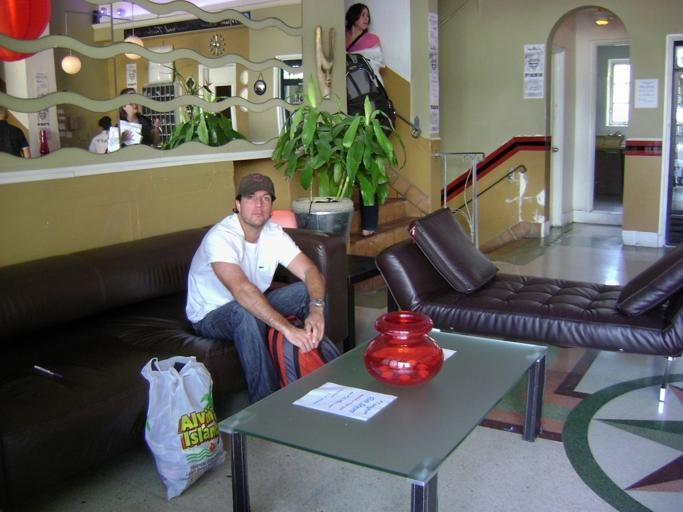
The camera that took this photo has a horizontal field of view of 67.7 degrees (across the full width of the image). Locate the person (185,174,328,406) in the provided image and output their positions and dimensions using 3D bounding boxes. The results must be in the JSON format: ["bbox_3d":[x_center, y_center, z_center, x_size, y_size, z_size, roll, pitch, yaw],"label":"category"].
[{"bbox_3d":[-0.458,0.233,2.825,0.879,1.338,0.611,3,9,29],"label":"person"}]

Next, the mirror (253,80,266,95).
[{"bbox_3d":[-0.680,-1.387,4.195,0.021,0.166,0.145,2,1,35],"label":"mirror"}]

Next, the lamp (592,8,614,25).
[{"bbox_3d":[3.674,-3.342,7.107,0.273,0.204,0.341,5,15,25],"label":"lamp"}]

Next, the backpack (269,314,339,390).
[{"bbox_3d":[-0.192,0.467,2.436,0.198,0.400,0.276,-24,-2,19],"label":"backpack"}]

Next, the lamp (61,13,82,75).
[{"bbox_3d":[-1.586,-1.232,2.967,0.113,0.339,0.056,-11,16,-36],"label":"lamp"}]

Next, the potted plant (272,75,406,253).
[{"bbox_3d":[0.042,-0.654,4.271,0.972,1.321,0.956,0,-4,42],"label":"potted plant"}]

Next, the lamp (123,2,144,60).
[{"bbox_3d":[-1.337,-1.419,3.263,0.035,0.312,0.146,3,14,18],"label":"lamp"}]
